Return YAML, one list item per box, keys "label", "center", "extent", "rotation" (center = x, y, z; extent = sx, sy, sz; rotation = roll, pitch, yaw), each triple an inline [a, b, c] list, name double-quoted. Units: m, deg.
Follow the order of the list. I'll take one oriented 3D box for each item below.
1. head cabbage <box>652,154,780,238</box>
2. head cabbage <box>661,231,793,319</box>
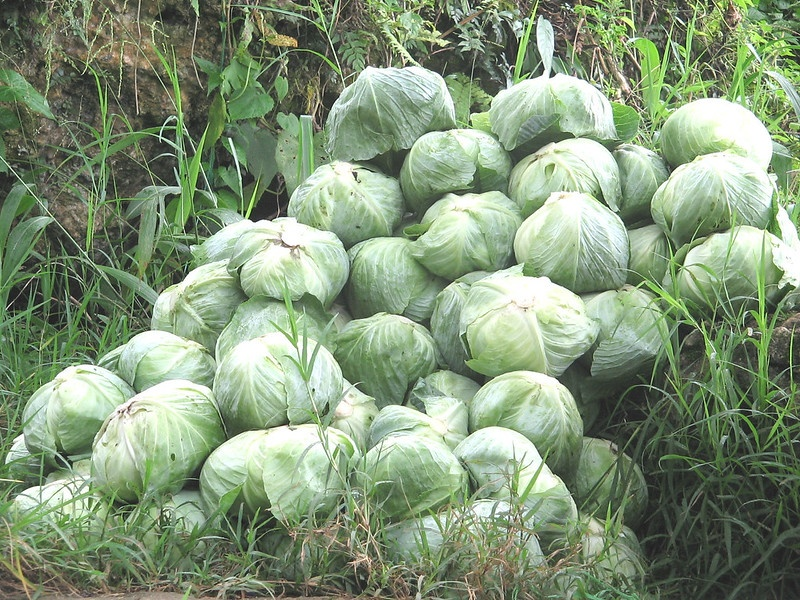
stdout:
- label: "head cabbage"
  center: [1.251, -0.436, 3.451]
  extent: [0.354, 0.369, 0.330]
  rotation: [-19, 23, -36]
- label: "head cabbage"
  center: [1.300, -0.118, 3.354]
  extent: [0.323, 0.271, 0.367]
  rotation: [-14, -7, 16]
